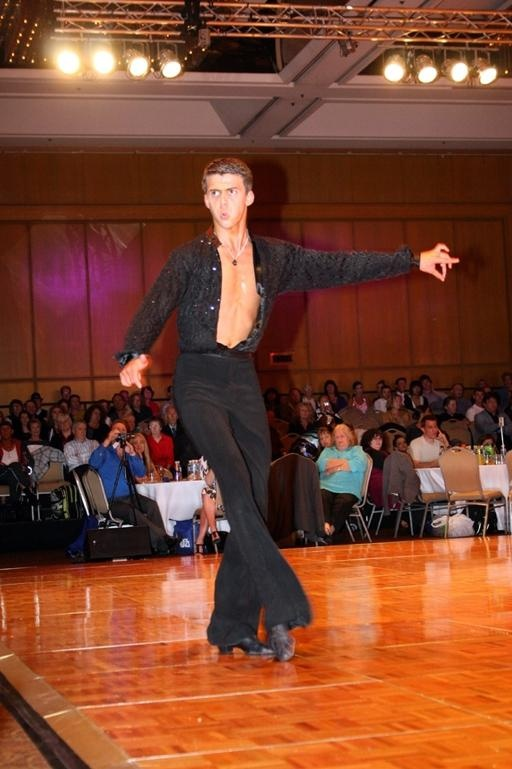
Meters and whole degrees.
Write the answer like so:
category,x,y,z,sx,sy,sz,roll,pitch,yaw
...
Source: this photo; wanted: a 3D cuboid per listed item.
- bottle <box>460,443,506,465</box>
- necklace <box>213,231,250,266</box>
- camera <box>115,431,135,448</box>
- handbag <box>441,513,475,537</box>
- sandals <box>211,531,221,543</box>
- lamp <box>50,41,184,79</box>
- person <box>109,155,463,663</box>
category,x,y,z,sx,sy,sz,roll,pitch,yaw
bottle,2.756,0.847,7.661,0.376,0.171,0.469,-2,-8,8
necklace,-0.075,-0.432,2.114,0.121,0.107,0.046,-2,-10,-9
camera,-1.310,0.569,6.624,0.099,0.164,0.337,3,2,22
handbag,2.141,1.518,6.848,0.224,0.091,0.265,0,0,-4
sandals,-0.374,1.482,6.175,0.074,0.080,0.208,-10,-31,-9
lamp,-1.925,-4.529,8.993,1.763,0.461,0.399,-3,0,-12
person,0.025,0.034,2.094,1.039,1.583,0.393,-4,0,-43
